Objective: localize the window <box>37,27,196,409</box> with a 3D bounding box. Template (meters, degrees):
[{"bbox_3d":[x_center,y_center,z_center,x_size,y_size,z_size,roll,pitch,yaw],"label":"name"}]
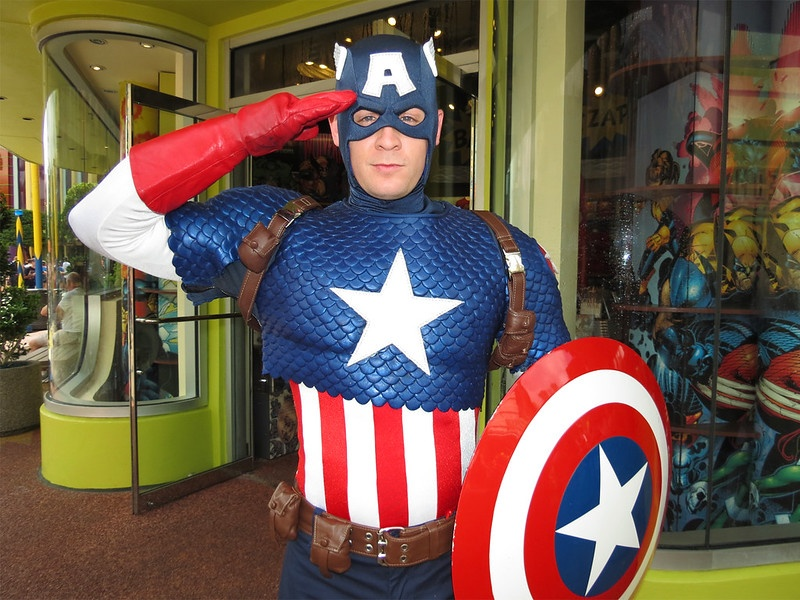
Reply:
[{"bbox_3d":[-1.620,-0.312,4.873,0.770,2.011,0.633,-2,-2,39],"label":"window"}]
